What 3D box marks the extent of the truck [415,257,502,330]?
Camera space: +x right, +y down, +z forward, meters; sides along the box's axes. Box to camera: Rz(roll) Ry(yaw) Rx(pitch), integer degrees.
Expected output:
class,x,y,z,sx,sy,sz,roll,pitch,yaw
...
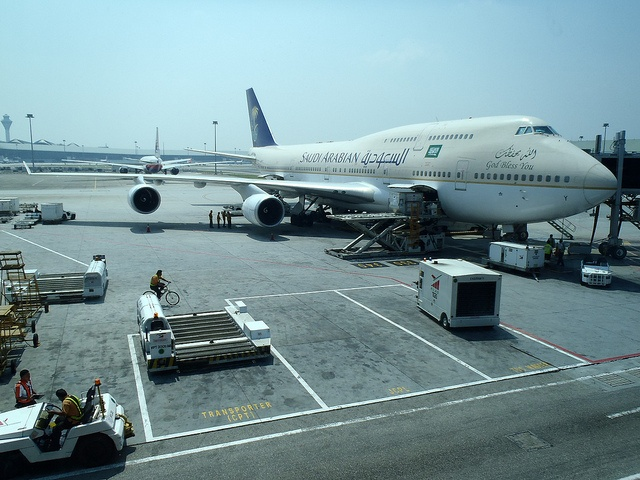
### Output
class,x,y,z,sx,sy,sz,roll,pitch,yaw
truck,5.947,2.088,20.778,2.862,1.938,3.694,-1,8,-13

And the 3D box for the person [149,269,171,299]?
class,x,y,z,sx,sy,sz,roll,pitch,yaw
person,-7.539,2.097,22.212,1.327,1.482,0.692,-11,40,-28

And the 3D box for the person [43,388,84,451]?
class,x,y,z,sx,sy,sz,roll,pitch,yaw
person,-6.497,4.469,11.951,0.871,1.451,0.534,-5,11,-22

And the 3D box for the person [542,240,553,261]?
class,x,y,z,sx,sy,sz,roll,pitch,yaw
person,14.675,0.679,30.399,0.392,1.388,0.959,4,11,24
